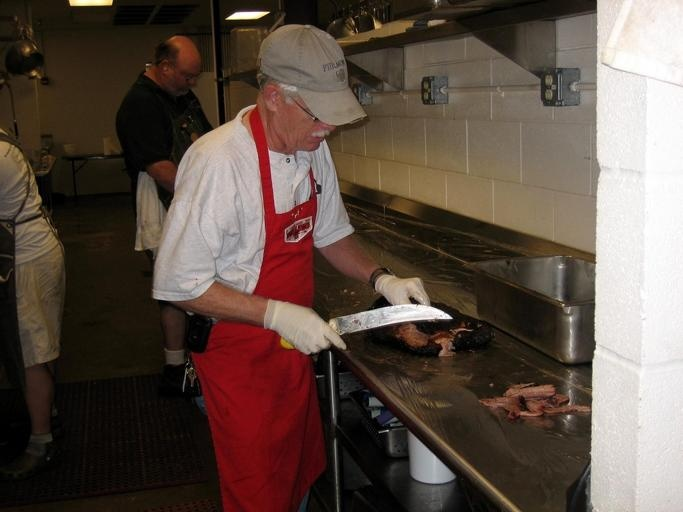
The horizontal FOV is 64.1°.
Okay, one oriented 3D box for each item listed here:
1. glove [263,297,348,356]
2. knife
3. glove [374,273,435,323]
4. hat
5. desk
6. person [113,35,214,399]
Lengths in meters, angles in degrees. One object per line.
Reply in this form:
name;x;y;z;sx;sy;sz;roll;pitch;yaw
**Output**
glove;-0.104;0.199;1.522;0.204;0.118;0.064;26;-4;-12
knife;0.079;0.205;1.540;0.359;0.055;0.062;-12;52;15
glove;0.203;0.132;1.720;0.196;0.119;0.106;-1;5;32
hat;-0.066;-0.495;1.424;0.214;0.182;0.337;-28;57;-34
desk;-4.193;-1.429;9.392;0.886;0.472;0.889;-6;3;-42
person;-0.844;-0.192;3.082;0.703;1.797;0.683;-4;14;-7
